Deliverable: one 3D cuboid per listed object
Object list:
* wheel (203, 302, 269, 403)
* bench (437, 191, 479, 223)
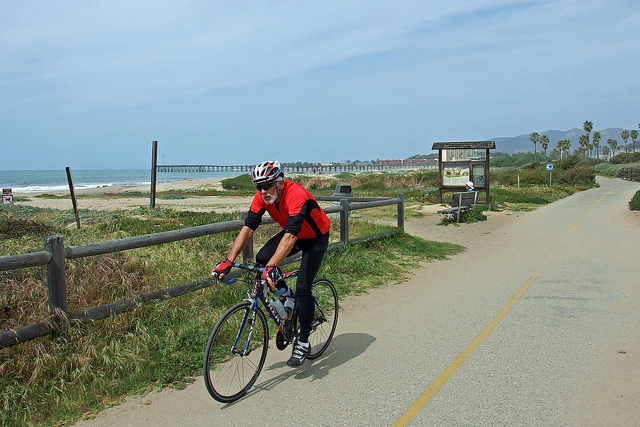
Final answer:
[{"bbox_3d":[-1.163,1.787,6.209,0.924,1.234,0.704,-6,11,-23],"label":"wheel"},{"bbox_3d":[5.920,-0.241,19.525,0.876,1.275,2.561,0,5,39],"label":"bench"}]
